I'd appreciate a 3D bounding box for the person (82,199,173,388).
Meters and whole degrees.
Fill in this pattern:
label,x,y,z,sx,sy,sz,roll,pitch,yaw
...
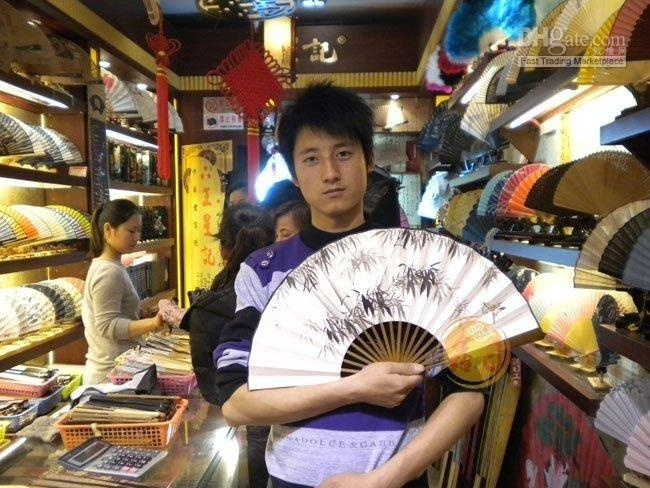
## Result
label,x,y,z,sx,sy,sz,roll,pitch,yaw
person,-1.423,0.313,2.981,0.469,1.227,0.750,2,11,-3

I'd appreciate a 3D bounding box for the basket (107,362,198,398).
label,x,y,z,sx,sy,sz,roll,pitch,yaw
basket,-0.904,0.719,2.336,0.429,0.133,0.302,16,-12,-27
